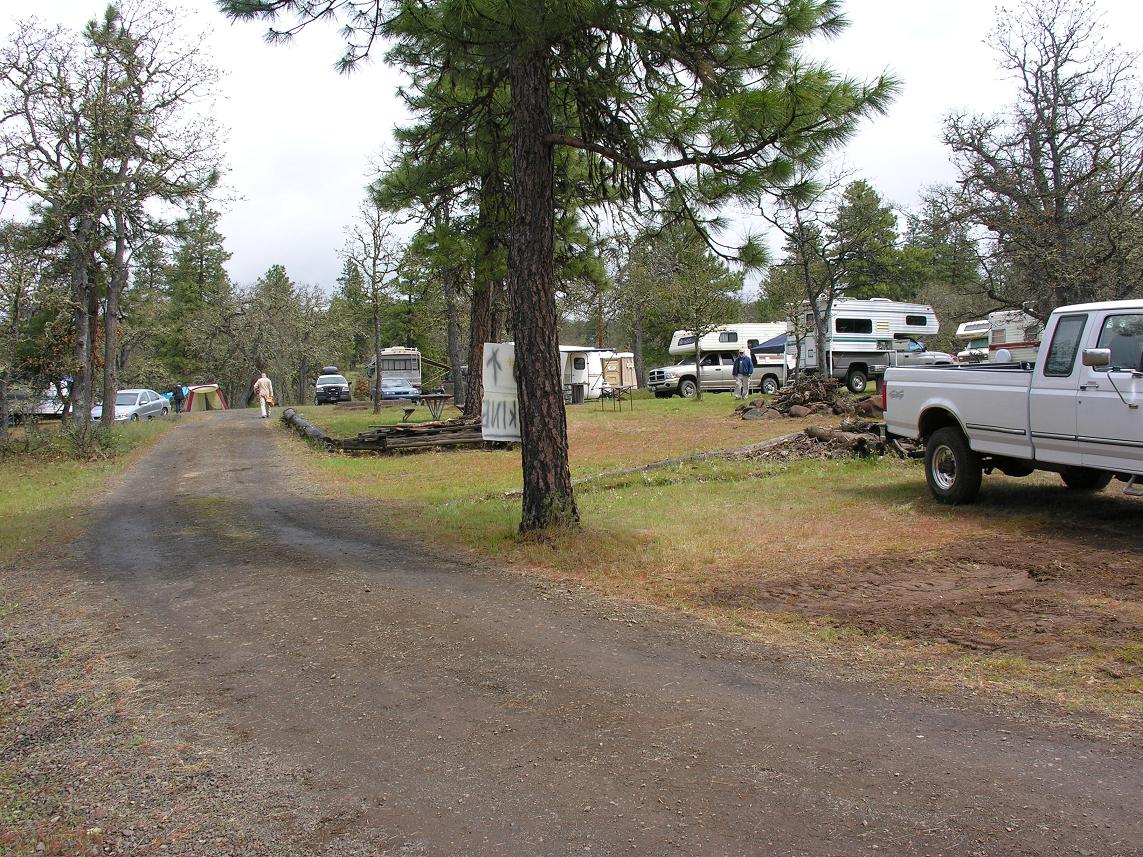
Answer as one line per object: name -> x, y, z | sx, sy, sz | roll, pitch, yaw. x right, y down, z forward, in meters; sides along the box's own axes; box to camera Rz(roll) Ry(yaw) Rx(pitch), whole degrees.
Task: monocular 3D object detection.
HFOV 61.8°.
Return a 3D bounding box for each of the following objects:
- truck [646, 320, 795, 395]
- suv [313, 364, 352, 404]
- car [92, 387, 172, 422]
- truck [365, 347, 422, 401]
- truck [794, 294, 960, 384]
truck -> 6.948, -3.072, 44.003 | 6.176, 3.682, 2.734 | -2, 2, -20
suv -> -13.291, -2.562, 53.957 | 1.903, 2.598, 5.125 | -1, -2, -12
car -> -17.537, -0.858, 38.860 | 1.324, 1.467, 6.939 | -4, 10, -14
truck -> -9.220, -3.296, 50.798 | 2.703, 3.146, 5.705 | 0, 0, -17
truck -> 11.210, -3.020, 35.125 | 4.229, 2.966, 2.625 | -2, -1, 0
